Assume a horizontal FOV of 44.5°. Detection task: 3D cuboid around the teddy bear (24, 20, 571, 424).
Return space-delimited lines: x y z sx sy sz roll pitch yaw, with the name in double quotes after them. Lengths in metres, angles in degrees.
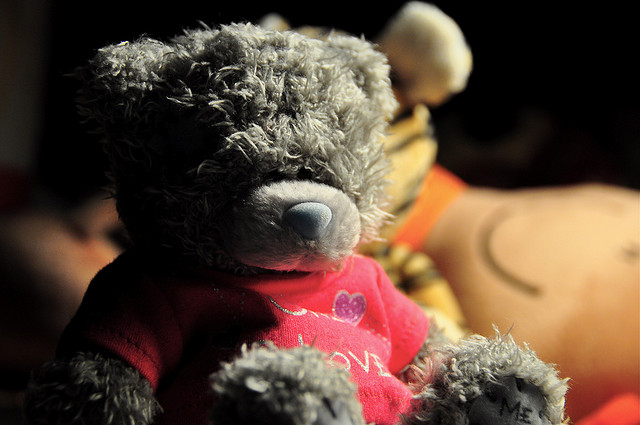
-0.156 -0.066 1.658 0.981 0.913 0.756 3 -11 -31 "teddy bear"
